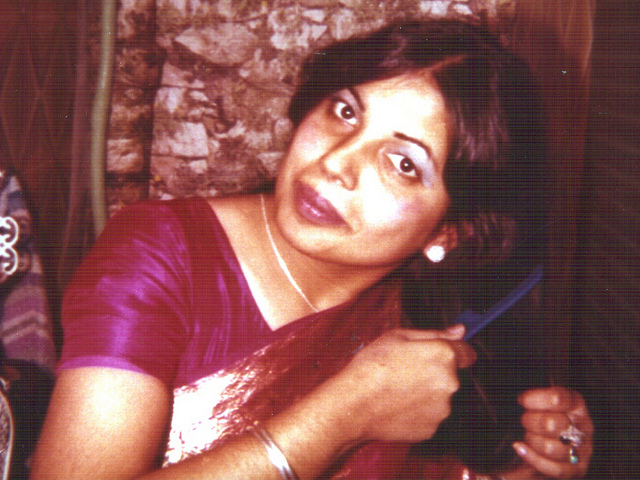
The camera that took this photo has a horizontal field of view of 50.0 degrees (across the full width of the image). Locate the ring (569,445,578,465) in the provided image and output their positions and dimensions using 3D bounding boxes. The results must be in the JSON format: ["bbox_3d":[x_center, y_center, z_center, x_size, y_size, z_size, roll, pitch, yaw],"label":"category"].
[{"bbox_3d":[1.172,0.998,3.167,0.032,0.079,0.043,-3,25,22],"label":"ring"}]

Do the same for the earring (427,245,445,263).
[{"bbox_3d":[0.533,0.068,3.162,0.082,0.076,0.016,4,4,-1],"label":"earring"}]
